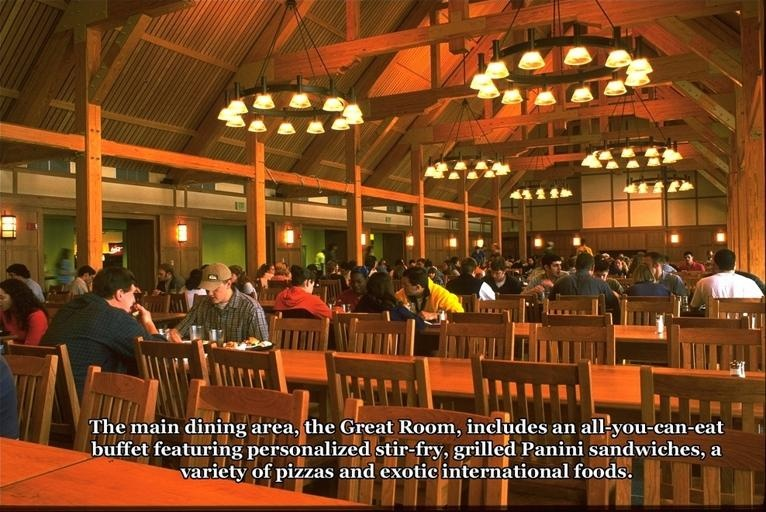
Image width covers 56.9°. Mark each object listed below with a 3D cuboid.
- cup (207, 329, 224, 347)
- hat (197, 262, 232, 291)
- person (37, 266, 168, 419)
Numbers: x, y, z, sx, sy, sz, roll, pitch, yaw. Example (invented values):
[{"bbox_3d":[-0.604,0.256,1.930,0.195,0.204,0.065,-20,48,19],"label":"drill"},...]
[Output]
[{"bbox_3d":[-1.481,0.714,6.168,0.137,0.165,0.171,0,-5,-3],"label":"cup"},{"bbox_3d":[-1.581,0.192,6.672,0.218,0.174,0.311,8,15,21],"label":"hat"},{"bbox_3d":[-2.352,0.848,5.917,1.009,1.461,0.790,5,10,-33],"label":"person"}]
